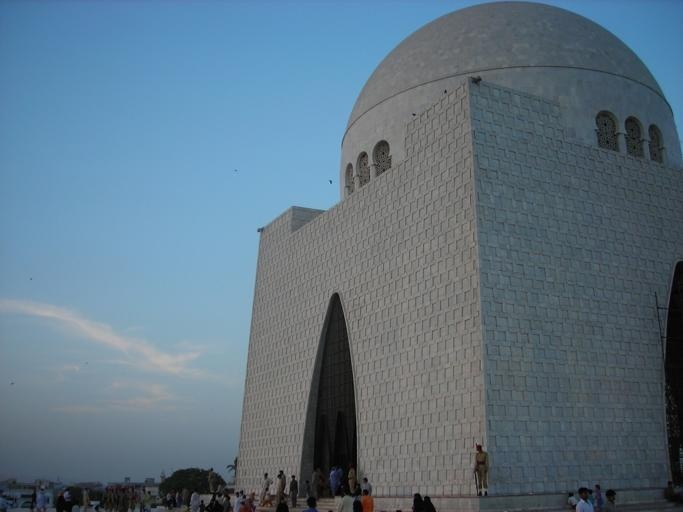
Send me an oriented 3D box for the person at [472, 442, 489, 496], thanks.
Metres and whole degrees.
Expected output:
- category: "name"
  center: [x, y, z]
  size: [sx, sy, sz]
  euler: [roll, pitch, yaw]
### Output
- category: "person"
  center: [3.047, 4.631, 14.198]
  size: [0.342, 1.084, 0.440]
  euler: [-6, -21, 15]
